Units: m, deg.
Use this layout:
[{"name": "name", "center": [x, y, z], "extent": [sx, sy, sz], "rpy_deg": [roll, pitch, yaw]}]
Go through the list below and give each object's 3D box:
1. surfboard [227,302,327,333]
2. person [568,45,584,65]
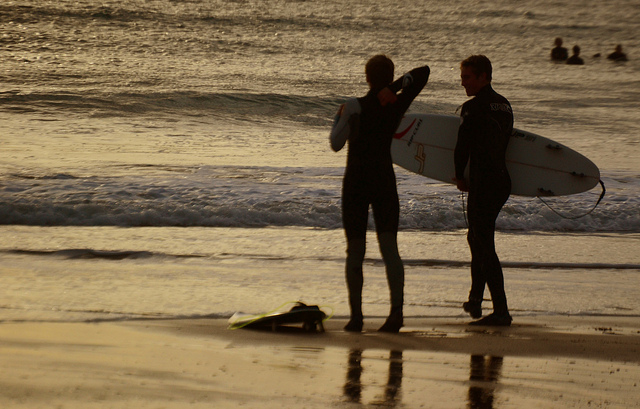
[{"name": "surfboard", "center": [-1.469, 2.449, 21.014], "extent": [0.525, 0.503, 2.166], "rpy_deg": [23, 17, 38]}, {"name": "person", "center": [14.331, -8.329, 51.897], "extent": [0.868, 0.963, 1.326], "rpy_deg": [5, 13, 12]}]
